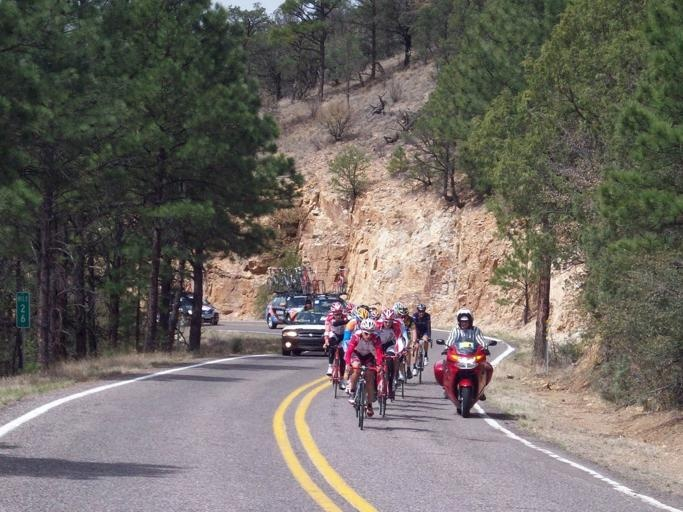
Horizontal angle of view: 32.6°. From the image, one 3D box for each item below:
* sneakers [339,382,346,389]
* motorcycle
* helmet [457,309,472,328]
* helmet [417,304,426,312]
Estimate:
[{"bbox_3d":[0.042,3.364,30.250,0.159,0.236,0.258,0,-23,-3],"label":"sneakers"},{"bbox_3d":[3.154,3.164,29.946,1.251,1.977,0.906,-2,-6,11],"label":"motorcycle"},{"bbox_3d":[3.206,1.651,30.355,0.337,0.454,0.462,0,-3,5],"label":"helmet"},{"bbox_3d":[2.510,1.653,36.679,0.297,0.193,0.481,1,-8,2],"label":"helmet"}]
